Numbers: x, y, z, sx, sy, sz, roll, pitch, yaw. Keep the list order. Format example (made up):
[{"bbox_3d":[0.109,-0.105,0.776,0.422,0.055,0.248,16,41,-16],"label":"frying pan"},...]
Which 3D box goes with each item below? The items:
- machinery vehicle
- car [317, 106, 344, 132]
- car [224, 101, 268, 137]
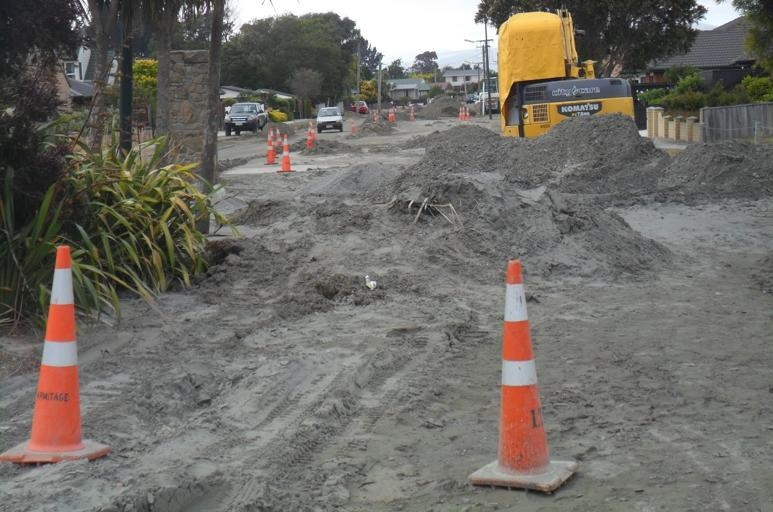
[{"bbox_3d":[5.371,-5.446,20.888,3.885,3.998,2.523,-1,10,6],"label":"machinery vehicle"},{"bbox_3d":[-3.694,-8.956,44.609,1.253,1.030,2.156,-1,4,1],"label":"car"},{"bbox_3d":[-8.704,-8.603,42.593,1.527,1.376,3.101,-1,4,3],"label":"car"}]
